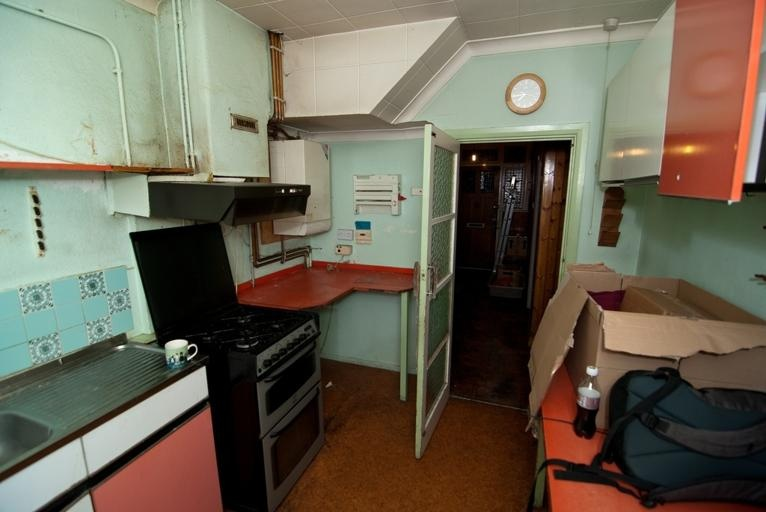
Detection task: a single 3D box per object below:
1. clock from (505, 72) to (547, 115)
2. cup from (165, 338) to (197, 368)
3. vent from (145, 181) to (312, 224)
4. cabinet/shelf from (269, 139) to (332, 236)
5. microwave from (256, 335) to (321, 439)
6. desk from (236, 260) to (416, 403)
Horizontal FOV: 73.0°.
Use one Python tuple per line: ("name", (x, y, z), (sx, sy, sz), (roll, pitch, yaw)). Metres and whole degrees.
("clock", (1.097, -1.233, 3.919), (0.335, 0.333, 0.035), (-1, 5, 25))
("cup", (-1.144, 0.561, 2.966), (0.137, 0.136, 0.198), (3, -4, 36))
("vent", (-0.911, -0.347, 3.320), (0.438, 0.262, 0.998), (11, 15, 43))
("cabinet/shelf", (-0.652, -0.532, 3.983), (0.248, 0.715, 0.749), (1, 8, 13))
("microwave", (-0.595, 0.827, 3.285), (0.412, 0.391, 0.608), (-2, 12, 14))
("desk", (-0.405, 0.735, 4.255), (1.189, 0.885, 1.175), (8, 18, 39))
